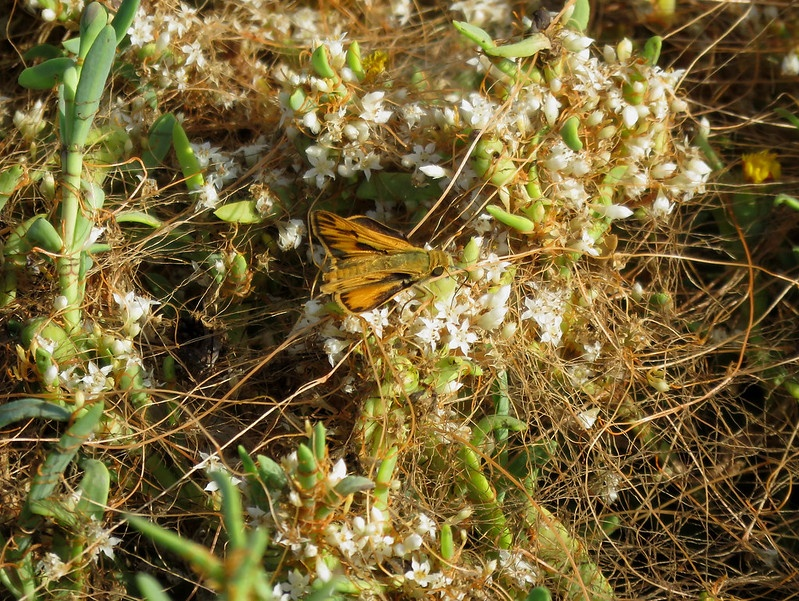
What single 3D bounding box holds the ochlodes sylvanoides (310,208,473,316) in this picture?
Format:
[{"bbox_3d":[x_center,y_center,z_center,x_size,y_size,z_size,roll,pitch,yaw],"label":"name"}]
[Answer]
[{"bbox_3d":[-0.021,-0.085,1.620,0.234,0.125,0.235,5,87,19],"label":"ochlodes sylvanoides"}]
